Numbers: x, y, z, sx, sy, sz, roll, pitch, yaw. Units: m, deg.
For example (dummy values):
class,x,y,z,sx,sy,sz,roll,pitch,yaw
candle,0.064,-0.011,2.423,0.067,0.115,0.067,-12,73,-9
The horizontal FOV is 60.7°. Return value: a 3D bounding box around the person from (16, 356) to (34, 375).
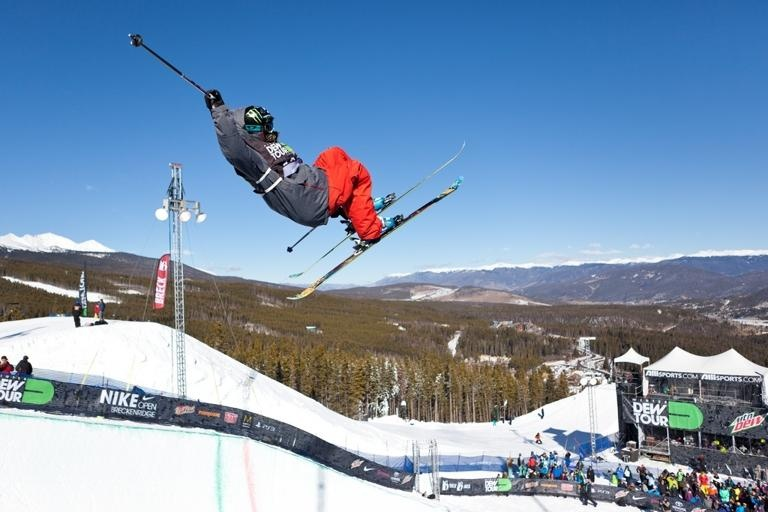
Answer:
class,x,y,z,sx,sy,sz,roll,pitch,yaw
person,-25.118,7.502,45.712,0.899,1.511,2.164,9,-17,-28
